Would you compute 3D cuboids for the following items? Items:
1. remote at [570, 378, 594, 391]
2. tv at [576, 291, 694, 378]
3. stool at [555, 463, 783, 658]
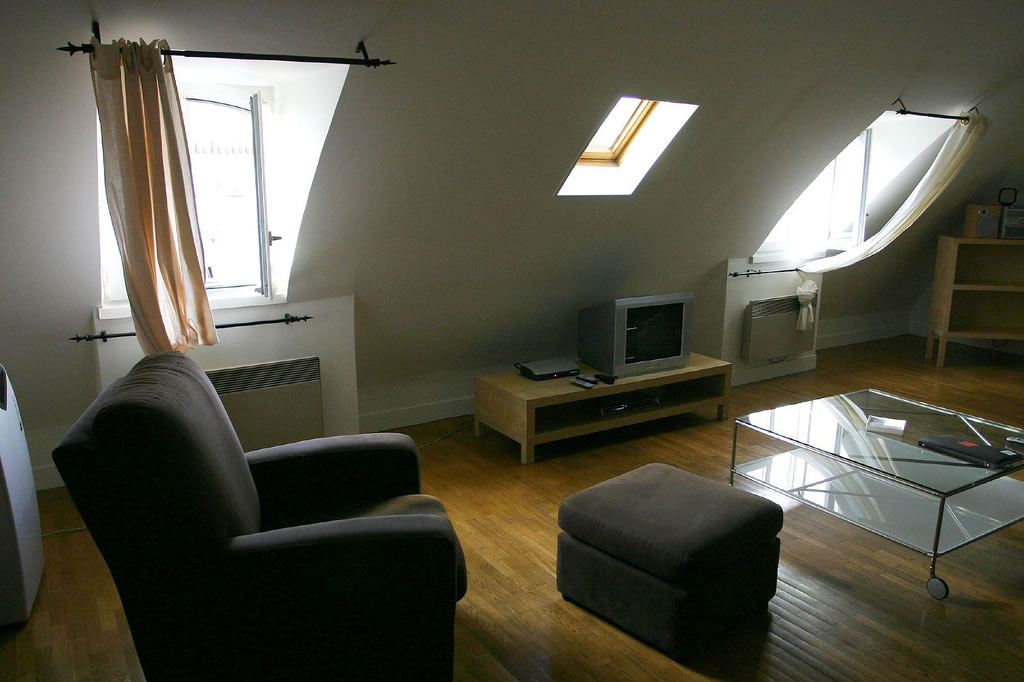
[{"bbox_3d":[0.470,0.274,4.852,0.064,0.027,0.120,-14,20,-30],"label":"remote"},{"bbox_3d":[0.864,-0.074,5.248,0.707,0.557,0.487,-7,13,-31],"label":"tv"},{"bbox_3d":[0.780,1.020,3.524,0.994,0.552,1.021,-4,11,-16],"label":"stool"}]
